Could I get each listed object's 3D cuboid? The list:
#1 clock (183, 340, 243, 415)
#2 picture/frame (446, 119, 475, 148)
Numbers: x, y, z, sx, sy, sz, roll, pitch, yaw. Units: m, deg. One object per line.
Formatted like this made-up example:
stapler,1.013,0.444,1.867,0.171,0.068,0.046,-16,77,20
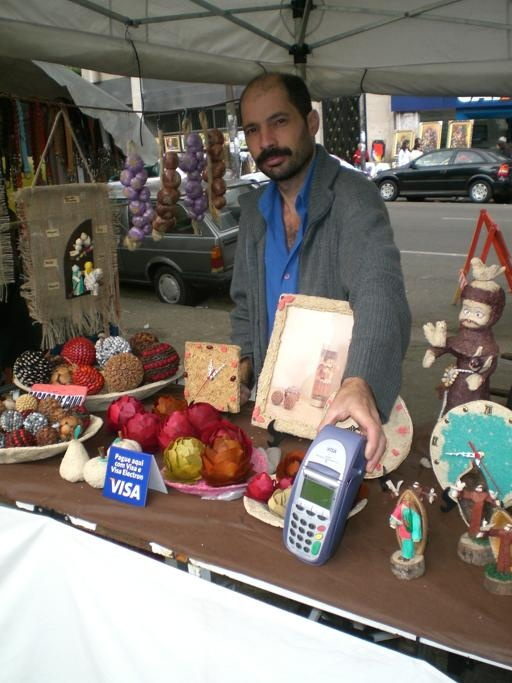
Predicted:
clock,-0.134,0.117,1.589,0.234,0.242,0.043,3,7,22
picture/frame,6.725,-6.896,16.972,0.815,0.812,0.419,3,14,20
